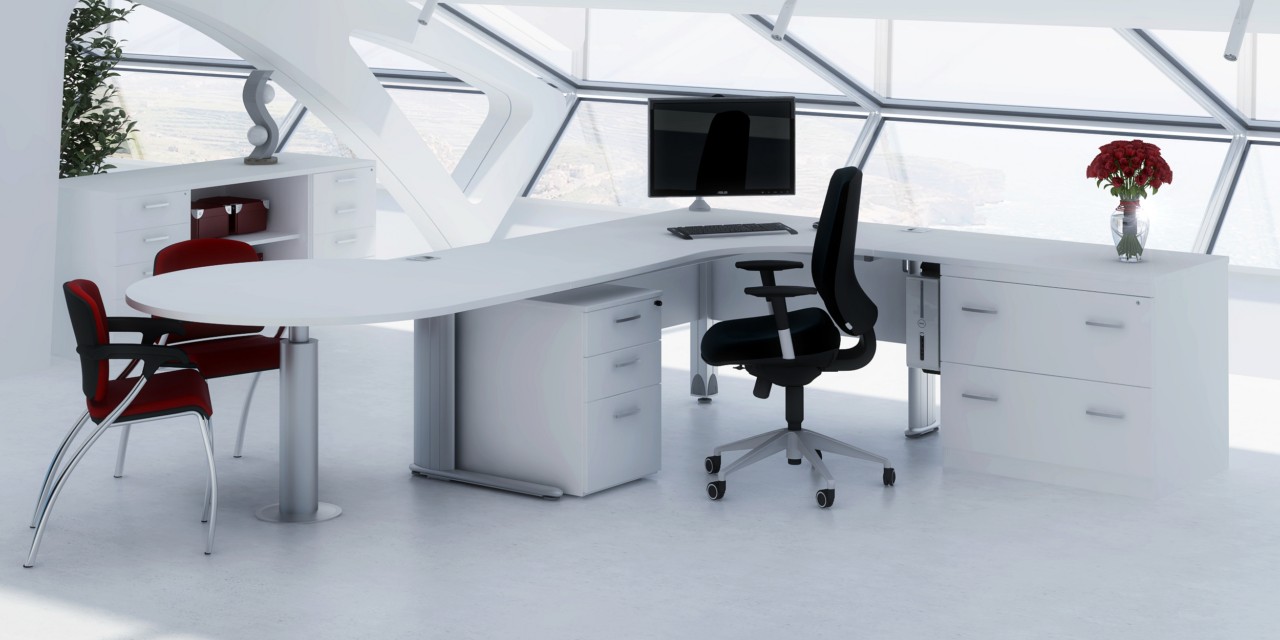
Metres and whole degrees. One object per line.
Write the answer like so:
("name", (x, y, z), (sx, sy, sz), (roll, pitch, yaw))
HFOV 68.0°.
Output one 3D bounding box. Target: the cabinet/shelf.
("cabinet/shelf", (-4.311, -0.790, 9.482), (1.328, 1.351, 3.336), (11, 16, 21))
